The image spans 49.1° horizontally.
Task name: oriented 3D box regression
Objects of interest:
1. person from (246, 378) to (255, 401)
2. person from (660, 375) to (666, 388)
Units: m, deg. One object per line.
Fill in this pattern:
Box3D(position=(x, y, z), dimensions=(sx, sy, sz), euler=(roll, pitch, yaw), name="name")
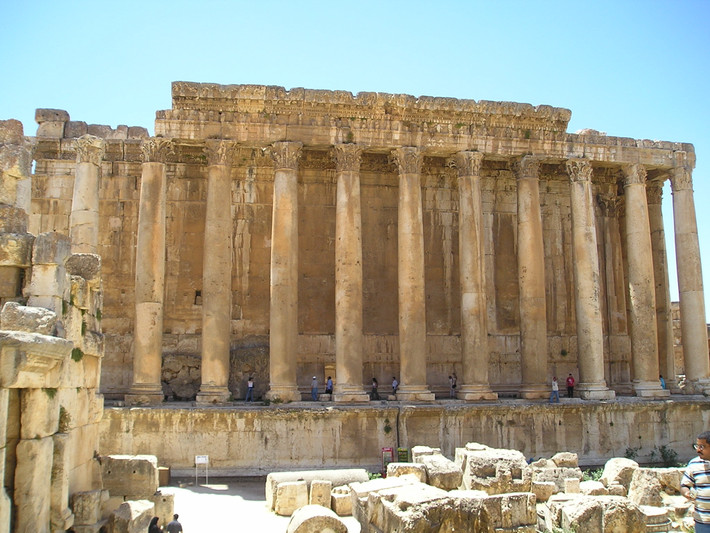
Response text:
Box3D(position=(-3.518, 4.118, 26.290), dimensions=(0.306, 0.876, 1.104), euler=(2, -14, -9), name="person")
Box3D(position=(11.277, 4.140, 28.257), dimensions=(0.172, 0.509, 1.060), euler=(-5, -14, 21), name="person")
